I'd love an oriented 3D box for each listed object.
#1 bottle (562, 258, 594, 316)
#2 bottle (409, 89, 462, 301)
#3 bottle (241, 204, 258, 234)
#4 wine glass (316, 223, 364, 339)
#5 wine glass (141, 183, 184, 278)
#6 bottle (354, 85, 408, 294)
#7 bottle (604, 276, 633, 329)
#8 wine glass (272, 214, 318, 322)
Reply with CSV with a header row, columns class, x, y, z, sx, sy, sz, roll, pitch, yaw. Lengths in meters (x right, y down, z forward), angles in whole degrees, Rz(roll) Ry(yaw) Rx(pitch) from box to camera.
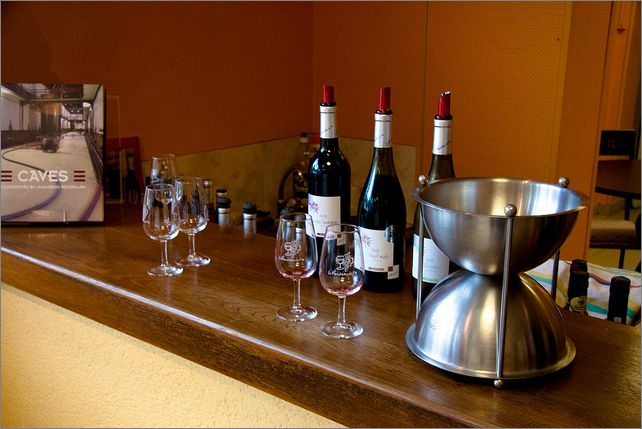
class,x,y,z,sx,sy,sz,roll,pitch,yaw
bottle,0.672,0.186,1.288,0.055,0.125,0.163,7,14,29
bottle,0.253,-0.030,1.062,0.097,0.450,0.263,3,12,10
bottle,-0.225,0.013,1.573,0.036,0.080,0.073,-2,12,-13
wine glass,0.050,0.125,1.036,0.089,0.222,0.145,2,12,9
wine glass,-0.403,0.028,1.257,0.085,0.211,0.183,-4,13,-20
bottle,0.143,-0.054,1.129,0.115,0.462,0.238,3,12,9
bottle,0.742,0.211,1.233,0.046,0.122,0.081,8,14,32
wine glass,-0.057,0.104,1.082,0.089,0.215,0.143,-2,12,-12
